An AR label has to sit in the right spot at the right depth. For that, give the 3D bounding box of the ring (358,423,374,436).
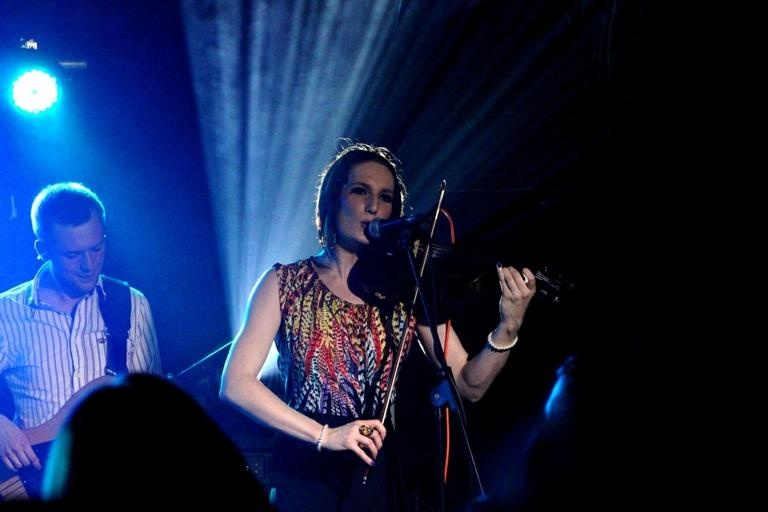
[{"bbox_3d":[-0.096,0.955,3.421,0.078,0.058,0.022,5,-5,-4],"label":"ring"}]

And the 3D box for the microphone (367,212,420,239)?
[{"bbox_3d":[0.048,-0.171,3.612,0.108,0.107,0.385,-9,0,-38],"label":"microphone"}]
